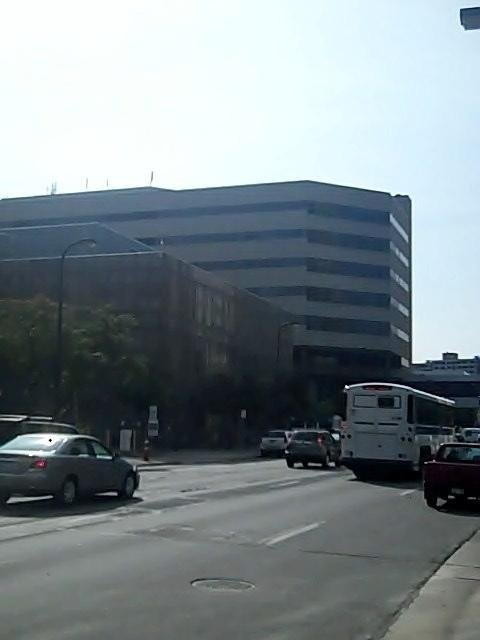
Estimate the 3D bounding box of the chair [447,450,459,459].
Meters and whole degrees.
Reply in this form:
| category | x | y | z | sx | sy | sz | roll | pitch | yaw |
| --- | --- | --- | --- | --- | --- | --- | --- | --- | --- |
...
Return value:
| category | x | y | z | sx | sy | sz | roll | pitch | yaw |
| --- | --- | --- | --- | --- | --- | --- | --- | --- | --- |
| chair | 4.427 | 2.778 | 15.273 | 0.188 | 0.225 | 0.364 | 5 | -7 | 11 |

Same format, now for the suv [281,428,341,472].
| category | x | y | z | sx | sy | sz | roll | pitch | yaw |
| --- | --- | --- | --- | --- | --- | --- | --- | --- | --- |
| suv | 3.176 | 5.445 | 31.324 | 1.288 | 1.176 | 2.597 | -2 | -6 | 17 |

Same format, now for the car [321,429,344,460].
| category | x | y | z | sx | sy | sz | roll | pitch | yaw |
| --- | --- | --- | --- | --- | --- | --- | --- | --- | --- |
| car | 4.114 | 5.500 | 32.181 | 1.005 | 1.099 | 1.944 | -2 | -3 | 20 |
